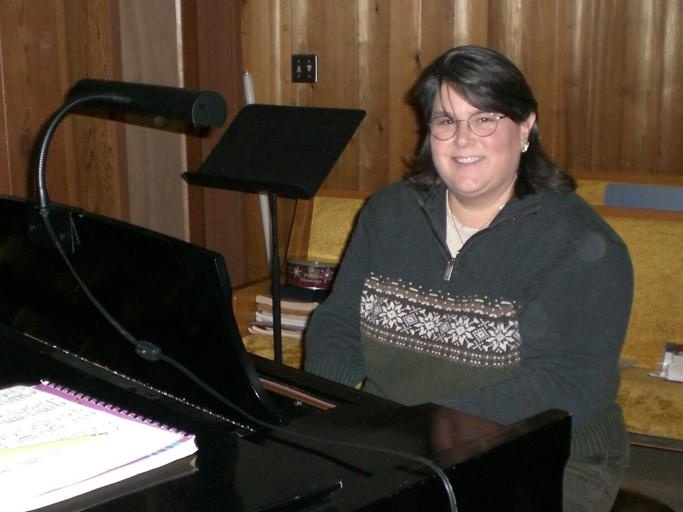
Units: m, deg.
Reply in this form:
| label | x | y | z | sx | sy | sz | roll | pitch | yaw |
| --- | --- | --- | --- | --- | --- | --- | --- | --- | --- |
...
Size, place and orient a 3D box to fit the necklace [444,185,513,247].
| label | x | y | z | sx | sy | sz | roll | pitch | yaw |
| --- | --- | --- | --- | --- | --- | --- | --- | --- | --- |
| necklace | 0.355 | -0.102 | 1.707 | 0.095 | 0.148 | 0.051 | 0 | -9 | 1 |
